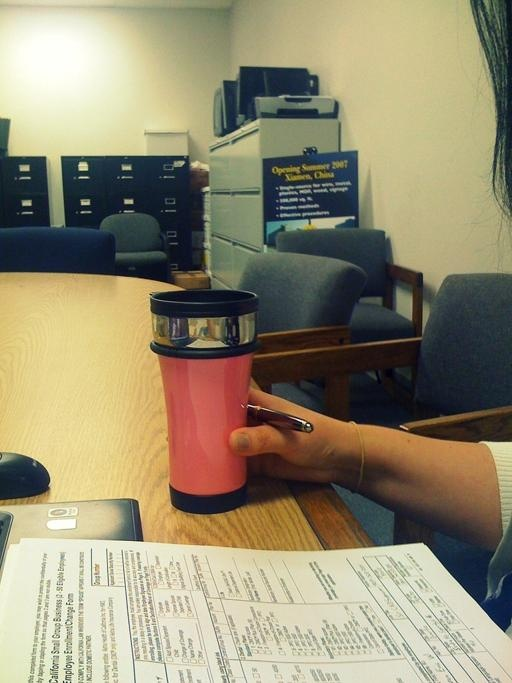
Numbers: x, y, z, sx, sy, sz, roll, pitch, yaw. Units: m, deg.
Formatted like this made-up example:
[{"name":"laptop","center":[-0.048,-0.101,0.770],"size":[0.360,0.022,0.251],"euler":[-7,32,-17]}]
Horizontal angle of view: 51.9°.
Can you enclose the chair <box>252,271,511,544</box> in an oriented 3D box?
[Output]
[{"name":"chair","center":[0.134,0.040,0.658],"size":[0.372,0.187,0.210],"euler":[14,9,-4]}]

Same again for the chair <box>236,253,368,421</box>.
[{"name":"chair","center":[0.104,-0.067,1.686],"size":[0.388,0.513,0.368],"euler":[-10,21,-33]}]

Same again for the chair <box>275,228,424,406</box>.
[{"name":"chair","center":[0.440,-0.091,2.663],"size":[0.681,0.914,0.619],"euler":[-9,16,-12]}]

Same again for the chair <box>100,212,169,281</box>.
[{"name":"chair","center":[-1.239,-0.849,5.284],"size":[0.750,0.789,0.734],"euler":[1,15,-3]}]

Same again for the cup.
[{"name":"cup","center":[-0.043,0.047,0.390],"size":[0.082,0.171,0.092],"euler":[6,9,9]}]
